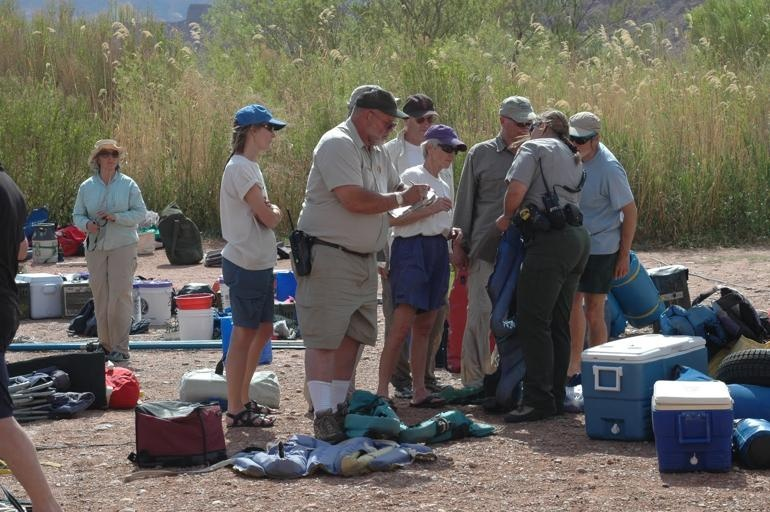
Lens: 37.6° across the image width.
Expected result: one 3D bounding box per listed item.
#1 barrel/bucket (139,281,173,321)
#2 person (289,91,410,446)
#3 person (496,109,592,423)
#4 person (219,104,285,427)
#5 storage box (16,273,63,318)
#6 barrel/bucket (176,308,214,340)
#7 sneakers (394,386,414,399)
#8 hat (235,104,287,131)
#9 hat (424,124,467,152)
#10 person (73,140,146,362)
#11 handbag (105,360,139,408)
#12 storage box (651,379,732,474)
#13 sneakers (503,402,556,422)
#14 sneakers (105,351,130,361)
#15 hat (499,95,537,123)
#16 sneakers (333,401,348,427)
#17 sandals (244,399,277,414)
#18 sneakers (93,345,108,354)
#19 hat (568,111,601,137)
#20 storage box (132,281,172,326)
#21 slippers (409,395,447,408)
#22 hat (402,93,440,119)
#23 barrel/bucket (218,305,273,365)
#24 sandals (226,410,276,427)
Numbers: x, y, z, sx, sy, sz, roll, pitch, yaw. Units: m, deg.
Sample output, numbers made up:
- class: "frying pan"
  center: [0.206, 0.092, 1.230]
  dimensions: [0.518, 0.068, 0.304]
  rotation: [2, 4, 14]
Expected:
- class: "barrel/bucket"
  center: [-3.324, 0.668, 16.424]
  dimensions: [0.545, 0.531, 0.507]
  rotation: [0, 0, 0]
- class: "person"
  center: [-0.437, 0.053, 12.450]
  dimensions: [1.196, 3.872, 0.489]
  rotation: [-1, 2, -7]
- class: "person"
  center: [1.826, 0.091, 12.908]
  dimensions: [0.984, 3.542, 0.438]
  rotation: [-1, 2, 0]
- class: "person"
  center: [-1.518, 0.102, 12.808]
  dimensions: [0.665, 3.660, 0.438]
  rotation: [-1, 2, -8]
- class: "storage box"
  center: [-5.222, 0.526, 17.043]
  dimensions: [0.605, 0.706, 1.017]
  rotation: [-1, 1, -24]
- class: "barrel/bucket"
  center: [-2.612, 0.947, 15.520]
  dimensions: [0.441, 0.410, 0.434]
  rotation: [0, 4, 0]
- class: "sneakers"
  center: [0.228, 1.643, 13.627]
  dimensions: [0.090, 0.112, 0.266]
  rotation: [0, 5, -25]
- class: "hat"
  center: [-1.436, -1.598, 12.858]
  dimensions: [0.510, 0.254, 0.327]
  rotation: [-7, 7, -6]
- class: "hat"
  center: [0.720, -1.407, 13.309]
  dimensions: [0.438, 0.232, 0.289]
  rotation: [9, 8, 10]
- class: "person"
  center: [-3.612, -0.093, 14.757]
  dimensions: [0.826, 2.933, 0.536]
  rotation: [0, 2, 19]
- class: "handbag"
  center: [-3.128, 1.564, 13.454]
  dimensions: [0.407, 0.451, 0.476]
  rotation: [-1, 2, -14]
- class: "storage box"
  center: [3.203, 1.799, 11.759]
  dimensions: [0.672, 0.687, 0.978]
  rotation: [-1, 5, 10]
- class: "sneakers"
  center: [1.644, 1.794, 12.924]
  dimensions: [0.584, 0.235, 0.211]
  rotation: [-2, 0, -10]
- class: "sneakers"
  center: [-3.475, 1.291, 14.641]
  dimensions: [0.297, 0.129, 0.107]
  rotation: [4, 1, 0]
- class: "hat"
  center: [1.557, -1.767, 13.435]
  dimensions: [0.281, 0.221, 0.391]
  rotation: [-10, 13, -43]
- class: "sneakers"
  center: [-0.482, 1.741, 12.428]
  dimensions: [0.114, 0.220, 0.145]
  rotation: [5, -5, -41]
- class: "sandals"
  center: [-1.434, 1.740, 13.021]
  dimensions: [0.368, 0.100, 0.129]
  rotation: [3, 7, -32]
- class: "sneakers"
  center: [-3.612, 1.182, 14.311]
  dimensions: [0.114, 0.118, 0.084]
  rotation: [-3, -8, 27]
- class: "hat"
  center: [2.414, -1.605, 13.593]
  dimensions: [0.263, 0.187, 0.361]
  rotation: [6, 7, 30]
- class: "storage box"
  center: [-3.409, 0.689, 16.578]
  dimensions: [0.621, 0.560, 0.590]
  rotation: [0, -2, -7]
- class: "slippers"
  center: [0.509, 1.720, 13.301]
  dimensions: [0.366, 0.115, 0.147]
  rotation: [-2, 3, 4]
- class: "hat"
  center: [0.450, -1.865, 13.954]
  dimensions: [0.307, 0.229, 0.412]
  rotation: [-2, 5, -21]
- class: "barrel/bucket"
  center: [-1.882, 1.039, 14.605]
  dimensions: [0.835, 0.925, 0.596]
  rotation: [-1, -5, -1]
- class: "sandals"
  center: [-1.542, 1.858, 12.894]
  dimensions: [0.521, 0.210, 0.206]
  rotation: [-1, 2, 2]
